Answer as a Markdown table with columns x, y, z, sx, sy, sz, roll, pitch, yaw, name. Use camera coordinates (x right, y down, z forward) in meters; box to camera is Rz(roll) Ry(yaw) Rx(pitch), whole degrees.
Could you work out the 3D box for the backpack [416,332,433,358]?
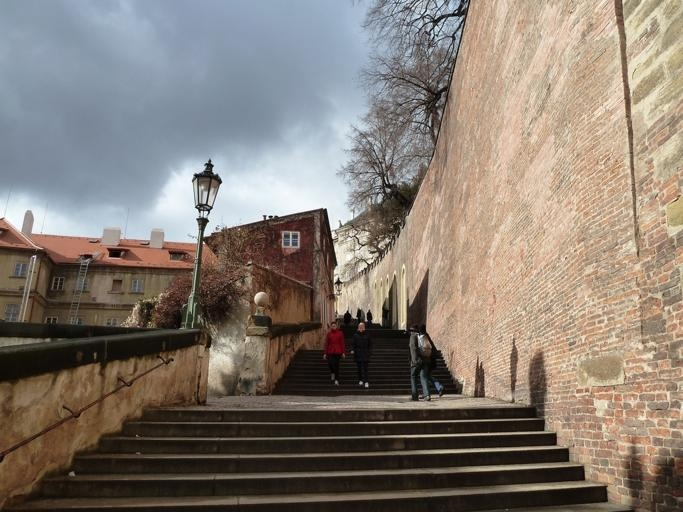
| x | y | z | sx | sy | sz | roll | pitch | yaw | name |
| --- | --- | --- | --- | --- | --- | --- | --- | --- | --- |
| 1.863 | 2.064 | 9.408 | 0.315 | 0.561 | 0.437 | 6 | 10 | 12 | backpack |
